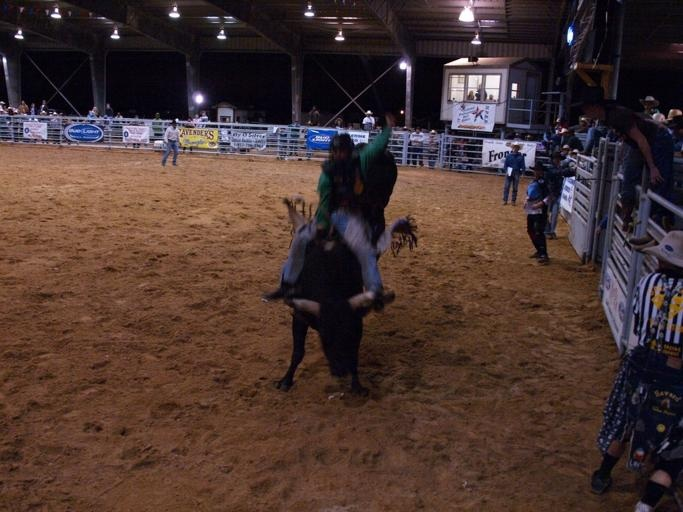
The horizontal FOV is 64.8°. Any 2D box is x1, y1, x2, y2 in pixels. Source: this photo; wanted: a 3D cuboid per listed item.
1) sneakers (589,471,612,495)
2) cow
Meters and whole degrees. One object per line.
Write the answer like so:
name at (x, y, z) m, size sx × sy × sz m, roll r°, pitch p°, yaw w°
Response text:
sneakers at (1.823, 1.610, 3.783) m, size 0.083 × 0.084 × 0.213 m, roll -6°, pitch -10°, yaw 35°
cow at (-0.021, 0.460, 4.775) m, size 1.150 × 1.006 × 1.929 m, roll 7°, pitch 21°, yaw -9°
